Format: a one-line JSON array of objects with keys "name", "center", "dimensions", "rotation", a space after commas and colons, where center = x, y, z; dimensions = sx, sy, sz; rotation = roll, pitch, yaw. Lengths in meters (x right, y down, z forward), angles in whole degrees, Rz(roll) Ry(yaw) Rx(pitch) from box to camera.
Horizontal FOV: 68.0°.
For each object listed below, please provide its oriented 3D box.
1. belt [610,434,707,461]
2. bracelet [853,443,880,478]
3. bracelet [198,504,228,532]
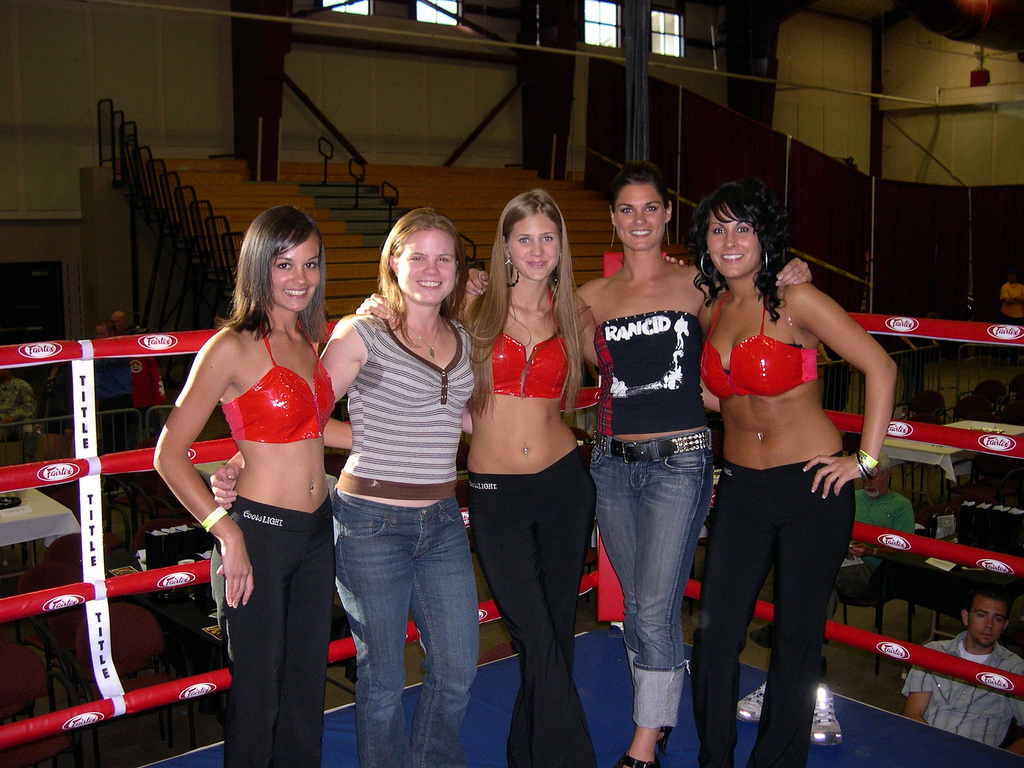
[{"name": "belt", "center": [0.518, 0.222, 2.741], "dimensions": [0.373, 0.121, 0.114], "rotation": [2, 6, 11]}, {"name": "bracelet", "center": [1.212, 0.275, 2.597], "dimensions": [0.074, 0.125, 0.217], "rotation": [4, 7, 25]}, {"name": "bracelet", "center": [-0.873, 0.396, 2.197], "dimensions": [0.065, 0.017, 0.065], "rotation": [-41, 9, -15]}]
